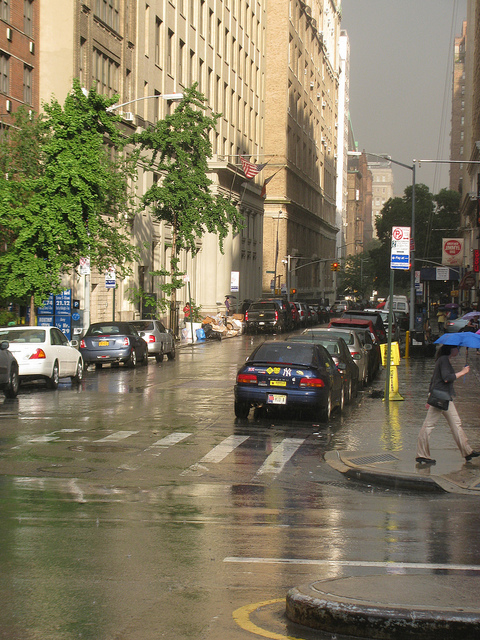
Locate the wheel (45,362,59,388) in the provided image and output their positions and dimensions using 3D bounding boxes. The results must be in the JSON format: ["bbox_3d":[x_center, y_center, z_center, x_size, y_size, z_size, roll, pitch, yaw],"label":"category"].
[{"bbox_3d":[-4.041,1.150,22.080,0.167,0.538,0.528,1,4,6],"label":"wheel"}]

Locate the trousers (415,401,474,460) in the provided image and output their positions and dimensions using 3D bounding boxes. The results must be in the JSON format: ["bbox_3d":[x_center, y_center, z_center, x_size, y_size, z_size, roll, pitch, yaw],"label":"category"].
[{"bbox_3d":[2.398,1.286,12.108,0.747,0.705,0.348,-1,0,-23],"label":"trousers"}]

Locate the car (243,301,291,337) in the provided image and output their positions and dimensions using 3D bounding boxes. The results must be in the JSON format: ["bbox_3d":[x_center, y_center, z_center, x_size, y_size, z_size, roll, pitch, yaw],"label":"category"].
[{"bbox_3d":[1.437,-0.291,55.712,0.960,1.159,2.321,-1,0,-39],"label":"car"}]

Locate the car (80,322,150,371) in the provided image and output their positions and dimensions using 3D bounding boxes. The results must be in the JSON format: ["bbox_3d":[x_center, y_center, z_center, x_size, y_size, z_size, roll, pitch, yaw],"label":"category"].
[{"bbox_3d":[-3.530,0.726,30.007,1.246,1.042,2.251,-1,0,23],"label":"car"}]

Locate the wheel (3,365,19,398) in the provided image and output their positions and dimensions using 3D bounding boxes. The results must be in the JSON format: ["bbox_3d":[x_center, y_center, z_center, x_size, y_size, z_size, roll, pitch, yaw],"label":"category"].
[{"bbox_3d":[-4.334,1.139,19.426,0.219,0.652,0.643,-3,-1,14],"label":"wheel"}]

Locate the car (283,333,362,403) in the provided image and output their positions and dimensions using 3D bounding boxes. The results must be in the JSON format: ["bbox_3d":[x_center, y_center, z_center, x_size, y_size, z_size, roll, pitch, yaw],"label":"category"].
[{"bbox_3d":[1.435,0.836,17.919,1.191,0.987,2.943,0,2,11],"label":"car"}]

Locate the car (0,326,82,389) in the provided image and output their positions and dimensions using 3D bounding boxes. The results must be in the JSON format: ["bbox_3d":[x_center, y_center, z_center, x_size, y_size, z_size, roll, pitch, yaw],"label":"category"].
[{"bbox_3d":[-4.293,0.700,22.721,0.860,0.736,2.242,-1,1,8],"label":"car"}]

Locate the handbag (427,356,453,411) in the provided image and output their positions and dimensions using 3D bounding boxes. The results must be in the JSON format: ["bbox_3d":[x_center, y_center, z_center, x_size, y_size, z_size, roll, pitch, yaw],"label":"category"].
[{"bbox_3d":[2.404,0.705,12.048,0.280,0.743,0.110,14,-25,6],"label":"handbag"}]

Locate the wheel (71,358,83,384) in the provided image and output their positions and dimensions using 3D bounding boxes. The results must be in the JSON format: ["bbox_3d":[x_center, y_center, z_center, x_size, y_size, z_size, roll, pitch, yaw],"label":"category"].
[{"bbox_3d":[-3.838,1.170,24.152,0.179,0.563,0.556,-2,-5,11],"label":"wheel"}]

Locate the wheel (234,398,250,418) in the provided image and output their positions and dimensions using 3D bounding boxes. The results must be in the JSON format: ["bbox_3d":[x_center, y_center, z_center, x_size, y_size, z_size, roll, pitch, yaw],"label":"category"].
[{"bbox_3d":[0.052,1.367,16.709,0.196,0.517,0.507,2,2,6],"label":"wheel"}]

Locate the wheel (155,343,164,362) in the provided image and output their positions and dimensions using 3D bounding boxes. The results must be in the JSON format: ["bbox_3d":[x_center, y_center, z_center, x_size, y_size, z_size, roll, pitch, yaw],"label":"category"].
[{"bbox_3d":[-2.627,1.010,33.675,0.161,0.510,0.506,-2,-13,7],"label":"wheel"}]

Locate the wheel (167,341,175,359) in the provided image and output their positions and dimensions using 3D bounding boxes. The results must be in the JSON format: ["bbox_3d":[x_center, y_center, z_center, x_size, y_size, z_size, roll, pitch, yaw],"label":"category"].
[{"bbox_3d":[-2.359,1.011,35.308,0.173,0.558,0.552,-1,-7,11],"label":"wheel"}]

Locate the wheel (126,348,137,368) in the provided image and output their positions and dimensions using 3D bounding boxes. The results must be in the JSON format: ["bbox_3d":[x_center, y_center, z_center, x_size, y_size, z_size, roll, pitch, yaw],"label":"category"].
[{"bbox_3d":[-3.133,1.044,29.748,0.167,0.531,0.523,2,-7,4],"label":"wheel"}]

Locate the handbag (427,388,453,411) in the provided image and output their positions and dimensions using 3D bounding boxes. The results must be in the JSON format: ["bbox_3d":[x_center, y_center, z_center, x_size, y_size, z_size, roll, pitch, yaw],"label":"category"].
[{"bbox_3d":[2.358,0.916,11.995,0.295,0.275,0.207,14,-3,13],"label":"handbag"}]

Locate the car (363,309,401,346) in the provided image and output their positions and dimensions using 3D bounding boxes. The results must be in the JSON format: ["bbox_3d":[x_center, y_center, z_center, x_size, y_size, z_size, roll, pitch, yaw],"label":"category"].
[{"bbox_3d":[5.485,0.187,39.099,1.440,1.481,2.707,1,7,14],"label":"car"}]

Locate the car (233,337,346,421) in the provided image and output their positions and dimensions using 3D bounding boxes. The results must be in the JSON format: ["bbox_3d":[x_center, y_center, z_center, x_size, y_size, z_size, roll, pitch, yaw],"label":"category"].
[{"bbox_3d":[0.801,0.995,16.969,1.478,0.868,2.202,-1,0,11],"label":"car"}]

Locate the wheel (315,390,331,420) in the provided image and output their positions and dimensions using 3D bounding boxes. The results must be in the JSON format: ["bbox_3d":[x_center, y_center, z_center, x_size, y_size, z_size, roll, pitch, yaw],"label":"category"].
[{"bbox_3d":[1.335,1.310,16.280,0.151,0.479,0.471,2,-4,3],"label":"wheel"}]

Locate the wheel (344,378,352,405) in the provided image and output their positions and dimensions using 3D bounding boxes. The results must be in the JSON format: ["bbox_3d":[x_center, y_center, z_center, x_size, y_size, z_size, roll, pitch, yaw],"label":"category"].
[{"bbox_3d":[2.076,1.351,19.677,0.170,0.540,0.531,2,-3,2],"label":"wheel"}]
